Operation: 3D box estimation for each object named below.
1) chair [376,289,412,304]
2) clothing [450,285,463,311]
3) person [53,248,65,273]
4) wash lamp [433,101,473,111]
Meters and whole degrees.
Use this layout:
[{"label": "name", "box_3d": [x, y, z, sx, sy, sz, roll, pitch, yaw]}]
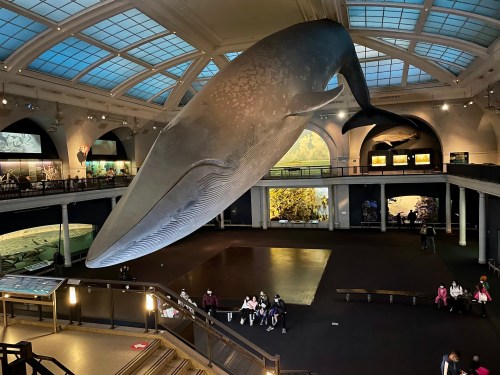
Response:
[{"label": "chair", "box_3d": [6.095, 4.777, 13.051, 1.430, 0.335, 0.633, 2, 11, 19]}, {"label": "clothing", "box_3d": [8.012, 4.269, 11.956, 0.424, 1.196, 0.382, -1, 5, 29]}, {"label": "person", "box_3d": [-10.351, 4.079, 16.706, 0.393, 1.482, 0.766, -6, 5, -34]}, {"label": "wash lamp", "box_3d": [16.022, -6.450, 24.199, 2.730, 0.461, 0.209, -11, -29, 5]}]
